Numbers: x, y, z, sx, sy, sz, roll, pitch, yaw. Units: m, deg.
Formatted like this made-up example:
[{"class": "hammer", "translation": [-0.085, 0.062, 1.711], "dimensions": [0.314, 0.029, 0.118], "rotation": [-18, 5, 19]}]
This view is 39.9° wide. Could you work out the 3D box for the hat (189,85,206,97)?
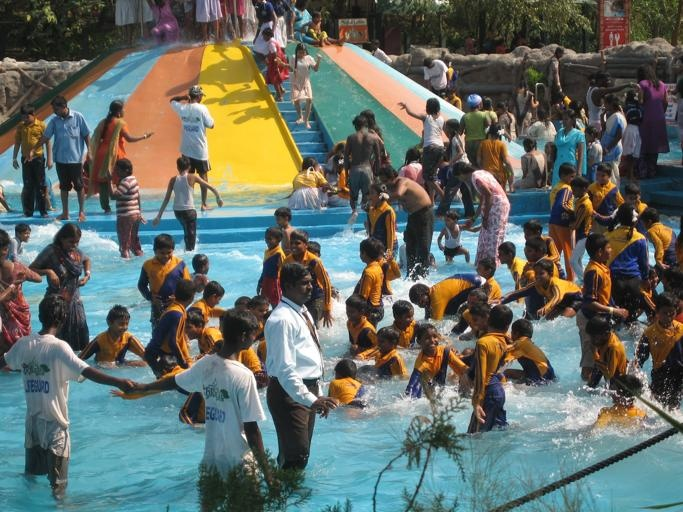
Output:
[{"class": "hat", "translation": [-2.596, -2.934, 16.930], "dimensions": [0.318, 0.271, 0.465], "rotation": [-1, 10, -6]}]
